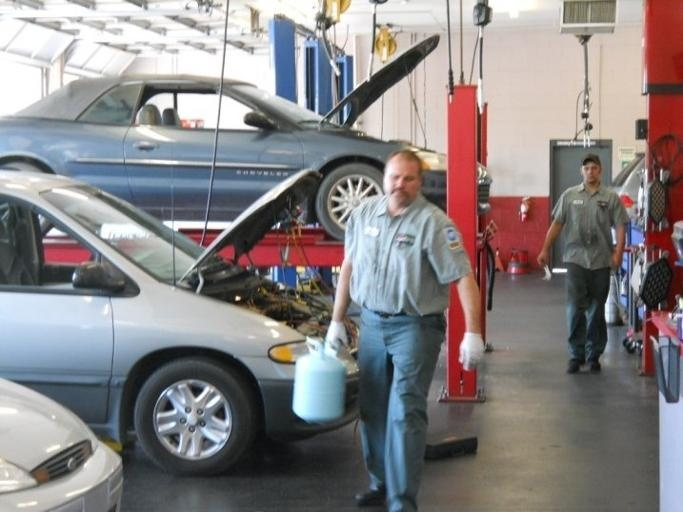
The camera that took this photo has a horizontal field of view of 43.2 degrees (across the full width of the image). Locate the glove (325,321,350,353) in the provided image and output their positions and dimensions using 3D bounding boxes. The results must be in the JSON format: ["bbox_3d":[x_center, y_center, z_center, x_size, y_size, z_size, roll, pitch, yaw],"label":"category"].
[{"bbox_3d":[-0.028,0.539,5.829,0.145,0.177,0.213,1,3,9],"label":"glove"}]

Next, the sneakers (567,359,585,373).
[{"bbox_3d":[2.308,1.060,8.502,0.093,0.125,0.247,4,9,42],"label":"sneakers"}]

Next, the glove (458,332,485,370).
[{"bbox_3d":[0.843,0.606,5.627,0.146,0.279,0.192,-1,6,8],"label":"glove"}]

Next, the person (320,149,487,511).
[{"bbox_3d":[0.396,0.490,5.612,1.025,2.342,0.501,-1,5,8],"label":"person"}]

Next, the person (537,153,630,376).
[{"bbox_3d":[2.437,0.046,8.599,0.790,2.109,0.460,-3,5,-10],"label":"person"}]

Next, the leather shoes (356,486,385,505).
[{"bbox_3d":[0.198,1.608,5.875,0.177,0.220,0.096,3,-5,7],"label":"leather shoes"}]

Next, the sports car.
[{"bbox_3d":[-1.237,-1.132,9.343,4.732,2.547,2.204,0,3,1],"label":"sports car"}]

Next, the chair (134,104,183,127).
[{"bbox_3d":[-1.852,-1.419,8.754,0.263,0.329,0.302,-1,6,-1],"label":"chair"}]
